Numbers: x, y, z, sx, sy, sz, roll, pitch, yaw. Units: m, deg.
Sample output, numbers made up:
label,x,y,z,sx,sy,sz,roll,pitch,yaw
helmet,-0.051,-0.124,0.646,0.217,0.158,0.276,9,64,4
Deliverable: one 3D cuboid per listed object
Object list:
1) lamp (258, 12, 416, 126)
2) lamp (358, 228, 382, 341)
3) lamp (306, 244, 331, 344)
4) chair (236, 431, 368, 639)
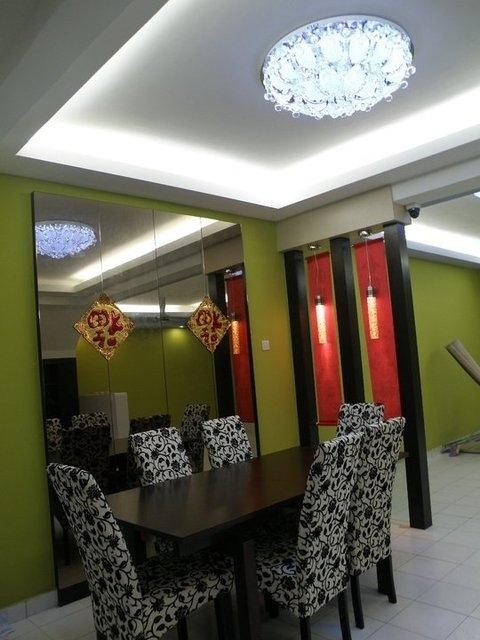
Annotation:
label,x,y,z,sx,sy,sz,roll,pitch,yaw
lamp,0.471,-1.239,2.214,0.730,0.396,0.504,-9,-3,18
lamp,1.263,-0.313,4.374,0.115,0.993,0.370,-6,-2,17
lamp,0.830,-0.224,4.944,0.208,0.888,0.315,-3,-3,-40
chair,0.286,1.009,2.026,0.600,0.787,0.567,-8,-3,29
